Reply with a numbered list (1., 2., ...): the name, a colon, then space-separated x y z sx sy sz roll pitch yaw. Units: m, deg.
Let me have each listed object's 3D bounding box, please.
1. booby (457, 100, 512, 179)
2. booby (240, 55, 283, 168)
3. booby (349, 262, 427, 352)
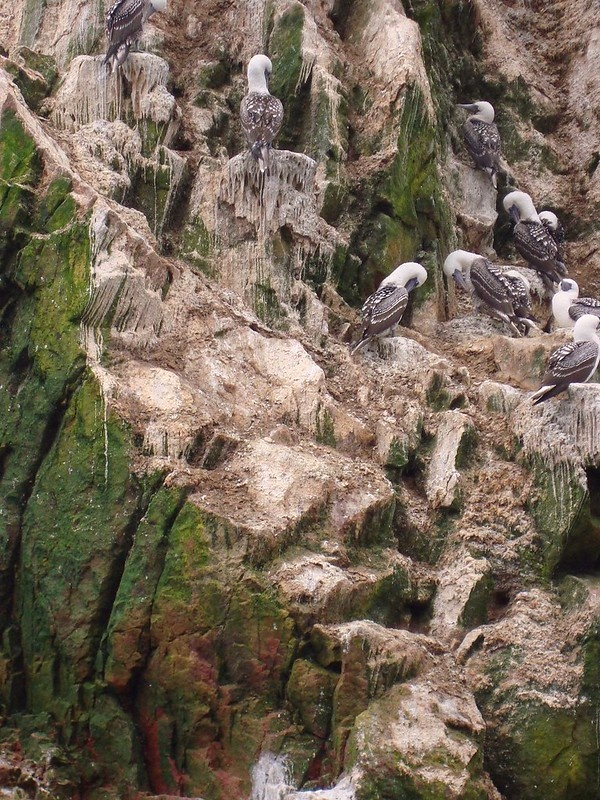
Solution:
1. booby: 1.765 -2.509 20.618 0.303 0.740 0.628 5 11 -38
2. booby: -0.343 -2.369 17.962 0.256 0.819 0.950 2 22 -2
3. booby: 0.727 -0.822 18.065 0.865 0.526 0.292 -26 26 -34
